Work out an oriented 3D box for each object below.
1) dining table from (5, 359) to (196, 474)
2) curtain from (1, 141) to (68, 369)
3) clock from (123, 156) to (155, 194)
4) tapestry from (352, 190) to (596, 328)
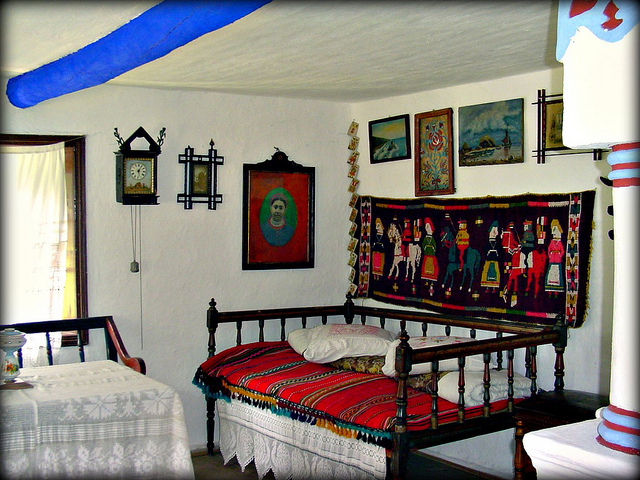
[{"bbox_3d":[-1.549,1.237,3.685,1.041,0.536,1.129,-1,1,-31],"label":"dining table"},{"bbox_3d":[-2.837,-0.087,5.358,0.614,1.791,0.057,-1,1,-15],"label":"curtain"},{"bbox_3d":[-1.825,-0.661,5.415,0.377,0.467,0.044,-1,2,-27],"label":"clock"},{"bbox_3d":[1.598,0.175,5.244,0.143,1.144,2.289,1,2,-43],"label":"tapestry"}]
